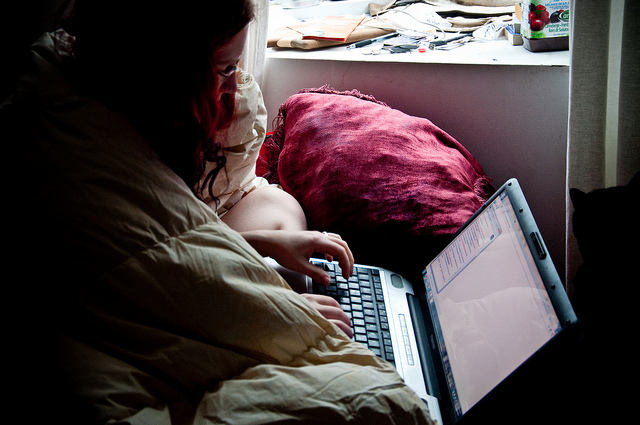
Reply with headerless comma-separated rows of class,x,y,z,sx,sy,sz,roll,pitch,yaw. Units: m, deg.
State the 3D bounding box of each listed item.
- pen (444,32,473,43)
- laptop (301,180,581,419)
pen,0.484,-0.612,1.585,0.168,0.019,0.014,-17,46,-25
laptop,0.281,0.210,1.011,0.535,0.372,0.477,14,42,-24
